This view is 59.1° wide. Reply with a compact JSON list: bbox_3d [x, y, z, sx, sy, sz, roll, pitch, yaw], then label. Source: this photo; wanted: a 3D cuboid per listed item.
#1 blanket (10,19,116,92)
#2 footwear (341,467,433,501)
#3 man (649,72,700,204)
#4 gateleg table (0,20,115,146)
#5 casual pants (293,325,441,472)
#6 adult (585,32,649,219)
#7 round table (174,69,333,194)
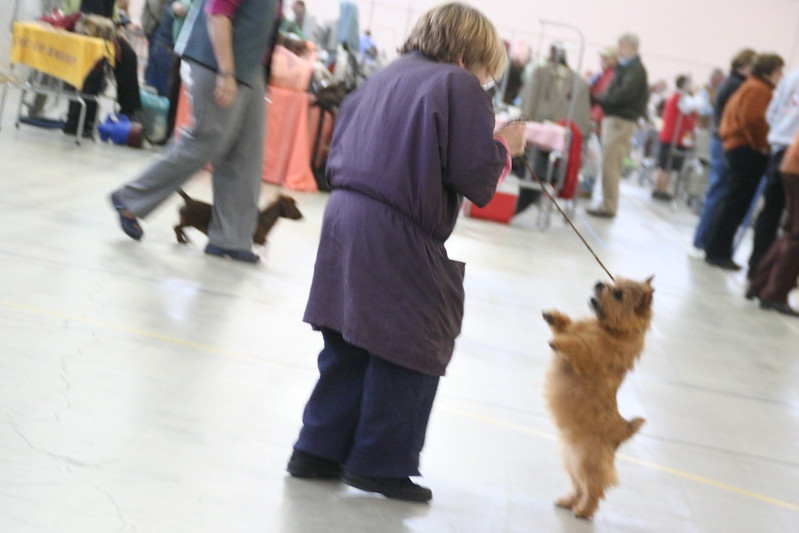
[{"bbox_3d":[-3.653,-2.273,7.495,1.004,0.515,0.379,18,25,7],"label":"blanket"},{"bbox_3d":[-0.060,0.912,2.968,0.368,0.163,0.131,12,1,-10],"label":"footwear"},{"bbox_3d":[4.293,-1.978,10.678,0.580,1.988,0.595,8,-9,26],"label":"man"},{"bbox_3d":[-3.728,-2.031,7.669,1.264,1.261,0.591,22,9,2],"label":"gateleg table"},{"bbox_3d":[-0.114,0.487,3.029,0.531,0.782,0.435,14,8,20],"label":"casual pants"},{"bbox_3d":[2.562,-1.676,8.452,0.706,2.176,0.752,8,9,11],"label":"adult"},{"bbox_3d":[-1.572,-1.528,8.494,0.956,1.185,1.529,-10,1,-11],"label":"round table"}]
